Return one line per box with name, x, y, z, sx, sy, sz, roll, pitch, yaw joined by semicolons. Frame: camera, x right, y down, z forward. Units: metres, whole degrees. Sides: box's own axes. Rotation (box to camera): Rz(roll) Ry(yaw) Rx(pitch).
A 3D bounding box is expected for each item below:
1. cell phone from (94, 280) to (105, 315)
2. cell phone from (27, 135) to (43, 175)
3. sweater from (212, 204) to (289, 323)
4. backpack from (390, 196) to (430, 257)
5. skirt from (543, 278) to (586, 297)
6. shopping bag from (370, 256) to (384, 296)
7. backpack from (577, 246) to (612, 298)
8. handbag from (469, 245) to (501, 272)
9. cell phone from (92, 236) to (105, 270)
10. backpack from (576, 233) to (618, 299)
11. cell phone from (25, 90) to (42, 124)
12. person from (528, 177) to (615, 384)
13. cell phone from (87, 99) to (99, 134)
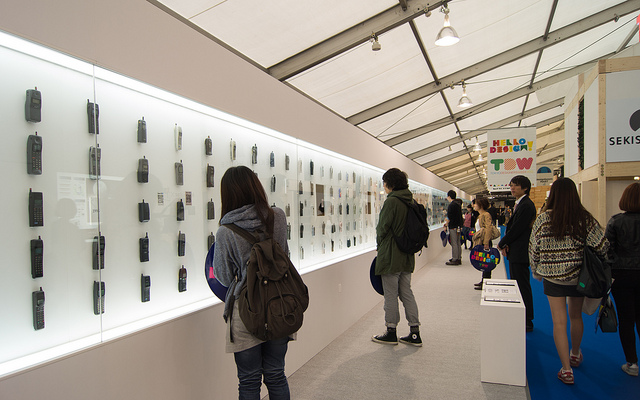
cell phone;-1.683;0.737;3.030;0.085;0.259;0.031;-6;8;-32
cell phone;-1.996;-0.310;2.778;0.089;0.266;0.038;-5;8;-31
sweater;-0.573;0.498;3.444;0.563;1.042;0.519;-7;-6;21
backpack;1.191;0.392;5.287;0.419;0.831;0.552;2;-13;-44
skirt;2.591;0.964;4.259;0.263;0.212;0.209;10;3;24
shopping bag;0.761;1.017;5.338;0.161;0.576;0.251;-1;7;7
backpack;2.799;0.732;4.084;0.265;0.596;0.521;-4;-1;26
handbag;2.915;1.039;7.071;0.469;0.445;0.237;3;8;31
cell phone;-1.684;0.398;3.027;0.094;0.249;0.020;-7;9;-42
backpack;2.863;0.696;4.168;0.418;0.551;0.263;0;-1;-37
cell phone;-2.015;-0.652;2.792;0.105;0.234;0.046;-5;7;-29
person;2.684;0.867;4.312;0.743;2.187;0.508;1;7;21
cell phone;-1.724;-0.625;3.026;0.081;0.244;0.039;-5;7;-30
